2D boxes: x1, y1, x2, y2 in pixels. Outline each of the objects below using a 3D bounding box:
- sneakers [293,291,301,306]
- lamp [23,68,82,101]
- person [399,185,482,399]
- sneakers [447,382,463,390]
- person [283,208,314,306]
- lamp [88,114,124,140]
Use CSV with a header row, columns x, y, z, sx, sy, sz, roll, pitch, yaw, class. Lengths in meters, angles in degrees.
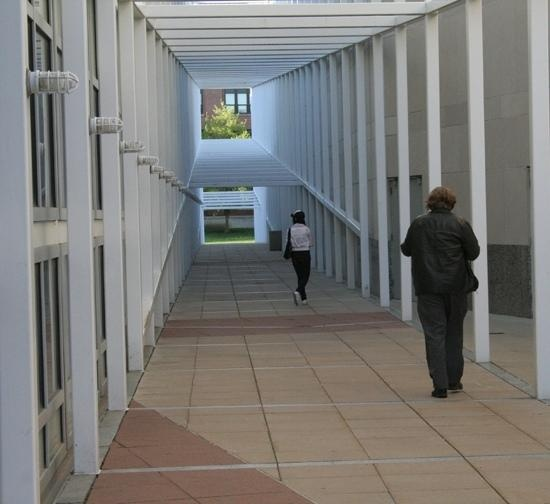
x,y,z,sx,sy,sz,roll,pitch,yaw,class
0.388,0.790,11.638,0.082,0.284,0.126,-4,48,10,sneakers
-0.947,-0.717,2.907,0.152,0.100,0.297,-1,11,-3,lamp
1.464,0.339,5.953,0.546,1.767,0.557,-3,9,-19,person
1.604,1.171,6.016,0.052,0.083,0.174,-2,-10,6,sneakers
0.410,0.102,11.963,0.453,1.587,0.906,0,9,5,person
-1.058,-0.789,4.282,0.158,0.099,0.283,1,11,9,lamp
